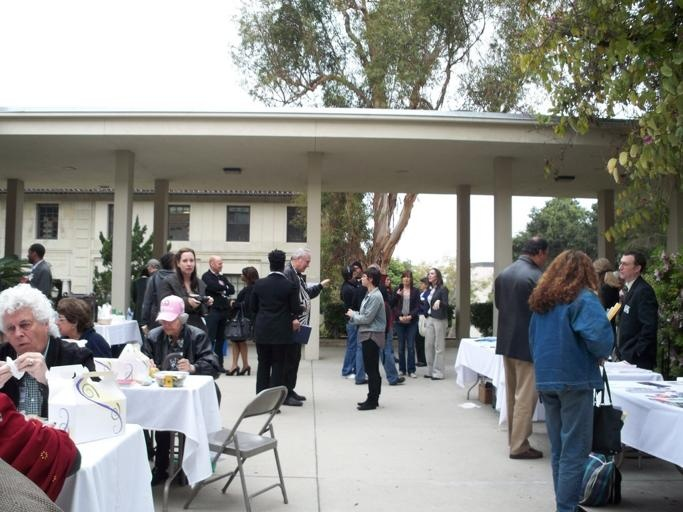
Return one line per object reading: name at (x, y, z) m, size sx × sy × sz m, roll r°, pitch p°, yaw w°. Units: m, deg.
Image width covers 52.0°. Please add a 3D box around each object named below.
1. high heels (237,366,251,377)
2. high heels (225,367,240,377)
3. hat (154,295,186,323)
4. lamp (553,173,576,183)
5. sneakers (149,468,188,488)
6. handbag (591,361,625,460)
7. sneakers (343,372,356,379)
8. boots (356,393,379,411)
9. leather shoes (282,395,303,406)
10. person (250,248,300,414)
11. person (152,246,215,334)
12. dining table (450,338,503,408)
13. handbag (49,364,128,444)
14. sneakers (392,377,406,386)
high heels at (-1.679, 2.015, 12.218) m, size 0.265 × 0.166 × 0.094 m, roll -5°, pitch -3°, yaw 20°
high heels at (-1.911, 2.019, 12.192) m, size 0.234 × 0.132 × 0.128 m, roll -5°, pitch -7°, yaw 44°
hat at (-1.693, 0.529, 7.041) m, size 0.179 × 0.179 × 0.298 m, roll 1°, pitch 6°, yaw 10°
lamp at (5.294, -1.820, 16.531) m, size 0.459 × 0.130 × 1.243 m, roll 1°, pitch 3°, yaw 19°
sneakers at (-1.745, 2.241, 7.049) m, size 0.233 × 0.118 × 0.254 m, roll 5°, pitch -6°, yaw -5°
handbag at (2.515, 1.472, 6.578) m, size 0.260 × 0.863 × 0.650 m, roll 1°, pitch 3°, yaw 23°
sneakers at (0.147, 2.078, 12.113) m, size 0.230 × 0.118 × 0.078 m, roll 7°, pitch -10°, yaw -3°
boots at (0.366, 2.073, 9.866) m, size 0.338 × 0.277 × 0.143 m, roll 2°, pitch -1°, yaw -2°
leather shoes at (-0.692, 2.060, 10.040) m, size 0.348 × 0.168 × 0.130 m, roll 0°, pitch 0°, yaw 10°
person at (-0.900, 0.954, 9.656) m, size 0.633 × 2.129 × 0.578 m, roll 4°, pitch 7°, yaw 14°
person at (-1.889, 0.787, 8.563) m, size 0.531 × 1.730 × 0.665 m, roll -4°, pitch 13°, yaw -17°
dining table at (1.948, 1.615, 9.649) m, size 0.605 × 0.442 × 0.748 m, roll -2°, pitch 5°, yaw -31°
handbag at (-1.975, 1.162, 5.462) m, size 0.349 × 0.503 × 0.496 m, roll -9°, pitch -10°, yaw 30°
sneakers at (0.951, 2.069, 11.565) m, size 0.253 × 0.212 × 0.095 m, roll 10°, pitch -15°, yaw -33°
